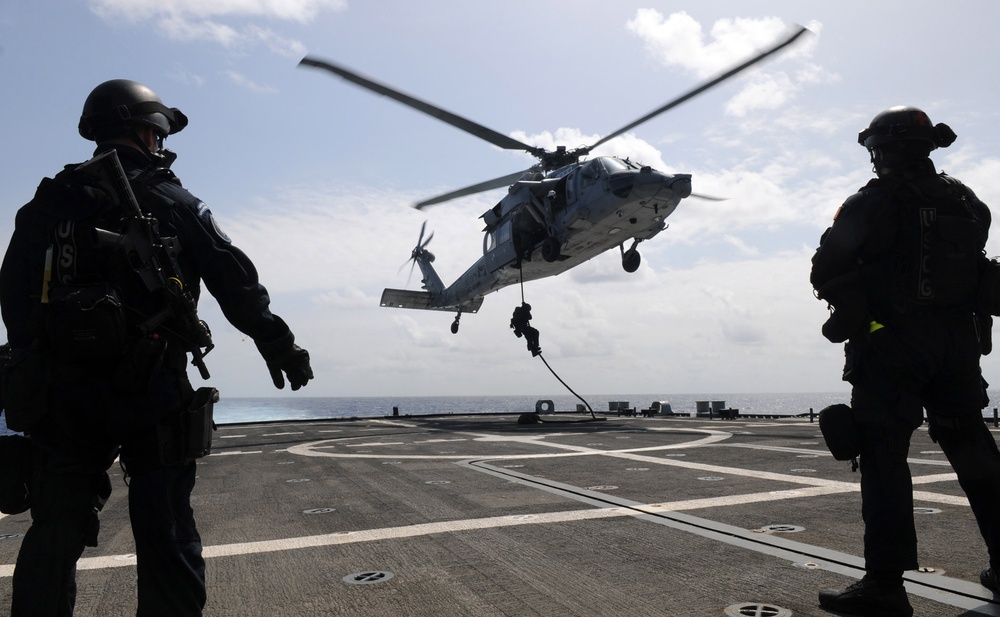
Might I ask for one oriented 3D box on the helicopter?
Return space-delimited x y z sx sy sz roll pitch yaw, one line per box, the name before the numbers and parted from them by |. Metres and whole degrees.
helicopter | 1.405 -3.553 25.733 19.669 5.272 20.328 8 -17 -28
